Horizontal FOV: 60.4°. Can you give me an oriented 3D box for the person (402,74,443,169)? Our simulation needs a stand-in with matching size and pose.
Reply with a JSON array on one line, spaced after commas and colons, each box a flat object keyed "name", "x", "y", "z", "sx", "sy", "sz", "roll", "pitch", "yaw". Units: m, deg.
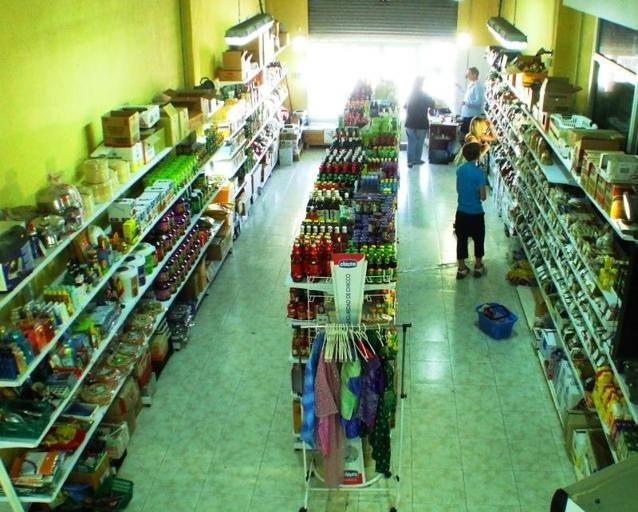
[{"name": "person", "x": 2.378, "y": -3.169, "z": 13.072, "sx": 0.639, "sy": 2.091, "sz": 0.649, "roll": 2, "pitch": 15, "yaw": 11}]

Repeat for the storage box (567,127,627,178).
[{"name": "storage box", "x": 2.957, "y": -1.242, "z": 5.946, "sx": 0.526, "sy": 0.365, "sz": 0.577, "roll": 2, "pitch": 32, "yaw": 6}]

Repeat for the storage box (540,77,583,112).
[{"name": "storage box", "x": 3.375, "y": -2.250, "z": 7.599, "sx": 0.542, "sy": 0.419, "sz": 0.591, "roll": 0, "pitch": 33, "yaw": 3}]

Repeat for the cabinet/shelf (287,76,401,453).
[{"name": "cabinet/shelf", "x": 0.319, "y": -0.051, "z": 6.432, "sx": 1.007, "sy": 2.050, "sz": 6.097, "roll": 0, "pitch": 35, "yaw": 3}]

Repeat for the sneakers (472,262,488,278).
[{"name": "sneakers", "x": 2.540, "y": 0.187, "z": 8.642, "sx": 0.128, "sy": 0.154, "sz": 0.350, "roll": 2, "pitch": 31, "yaw": 19}]

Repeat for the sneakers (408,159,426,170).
[{"name": "sneakers", "x": 2.385, "y": -2.286, "z": 13.510, "sx": 0.534, "sy": 0.229, "sz": 0.194, "roll": -9, "pitch": 45, "yaw": -6}]

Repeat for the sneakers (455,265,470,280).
[{"name": "sneakers", "x": 2.219, "y": 0.263, "z": 8.500, "sx": 0.106, "sy": 0.145, "sz": 0.314, "roll": 6, "pitch": 32, "yaw": 20}]

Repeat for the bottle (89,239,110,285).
[{"name": "bottle", "x": -2.145, "y": 0.028, "z": 5.284, "sx": 0.132, "sy": 0.351, "sz": 0.412, "roll": -2, "pitch": 16, "yaw": -3}]

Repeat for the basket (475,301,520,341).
[{"name": "basket", "x": 2.322, "y": 0.818, "z": 7.178, "sx": 0.348, "sy": 0.308, "sz": 0.519, "roll": -15, "pitch": 37, "yaw": -11}]
